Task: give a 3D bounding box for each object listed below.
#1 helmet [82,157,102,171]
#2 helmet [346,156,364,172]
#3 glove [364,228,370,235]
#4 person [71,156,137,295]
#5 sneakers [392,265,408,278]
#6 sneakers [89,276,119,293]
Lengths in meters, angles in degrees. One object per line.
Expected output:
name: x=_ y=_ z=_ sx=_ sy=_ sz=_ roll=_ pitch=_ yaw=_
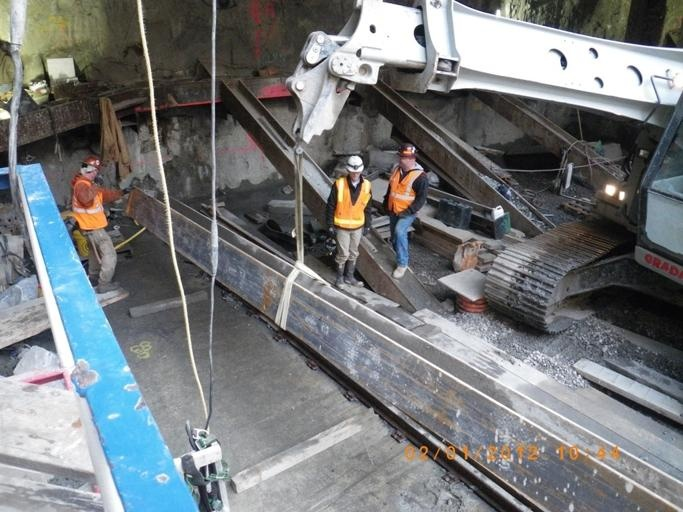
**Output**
helmet: x=-3.625 y=-1.356 z=7.256 sx=0.167 sy=0.204 sz=0.229 roll=29 pitch=33 yaw=24
helmet: x=0.180 y=-1.340 z=7.310 sx=0.224 sy=0.187 sz=0.334 roll=2 pitch=34 yaw=-5
glove: x=0.415 y=-0.395 z=8.153 sx=0.121 sy=0.114 sz=0.183 roll=1 pitch=2 yaw=6
person: x=-3.669 y=-0.395 z=7.411 sx=0.437 sy=1.957 sz=0.640 roll=-14 pitch=29 yaw=-28
sneakers: x=0.917 y=0.240 z=7.889 sx=0.108 sy=0.144 sz=0.310 roll=16 pitch=24 yaw=32
sneakers: x=-3.476 y=0.422 z=7.267 sx=0.362 sy=0.291 sz=0.134 roll=-15 pitch=27 yaw=-25
